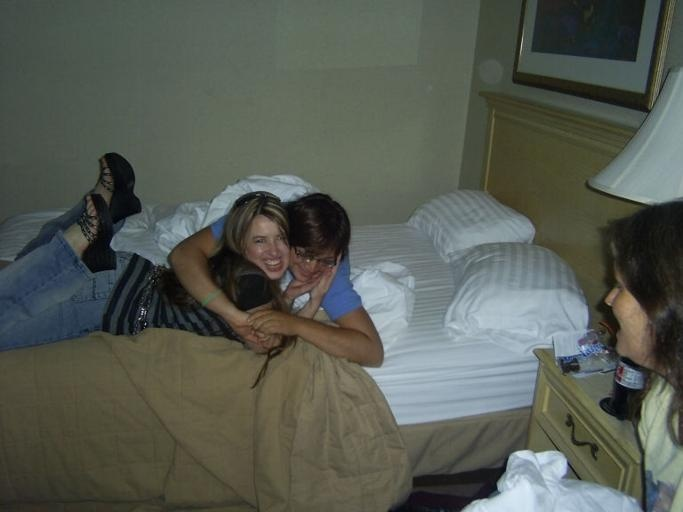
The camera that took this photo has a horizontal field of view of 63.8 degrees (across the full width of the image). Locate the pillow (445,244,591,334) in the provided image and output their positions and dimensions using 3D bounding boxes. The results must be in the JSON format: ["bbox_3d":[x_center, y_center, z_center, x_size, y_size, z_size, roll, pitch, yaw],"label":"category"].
[{"bbox_3d":[0.762,0.168,2.406,0.575,0.201,0.623,-2,15,20],"label":"pillow"}]

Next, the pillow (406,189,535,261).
[{"bbox_3d":[0.813,-0.235,2.895,0.420,0.147,0.513,-2,35,23],"label":"pillow"}]

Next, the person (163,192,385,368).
[{"bbox_3d":[-0.219,0.066,2.195,0.561,0.216,0.788,-1,45,-29],"label":"person"}]

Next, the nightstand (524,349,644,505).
[{"bbox_3d":[0.697,0.666,1.906,0.303,0.466,0.467,-4,37,-8],"label":"nightstand"}]

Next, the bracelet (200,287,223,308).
[{"bbox_3d":[-0.483,0.158,2.085,0.055,0.075,0.073,41,-13,8],"label":"bracelet"}]

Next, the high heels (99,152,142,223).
[{"bbox_3d":[-0.976,-0.292,2.439,0.121,0.359,0.129,-21,20,-41],"label":"high heels"}]
